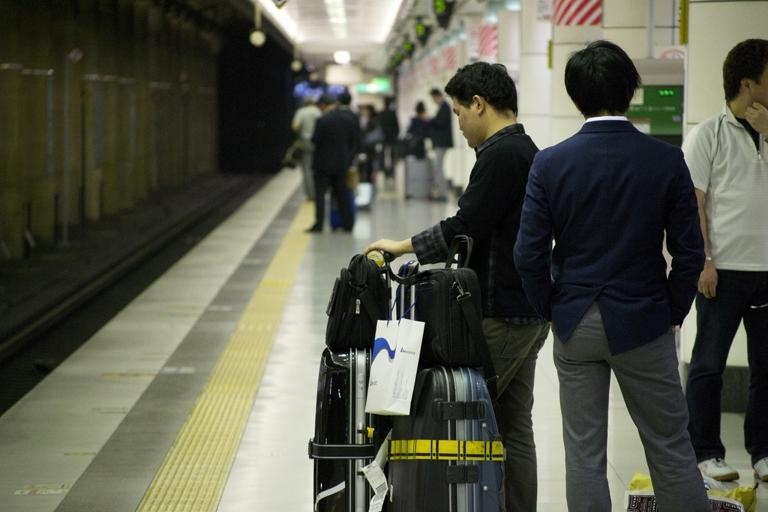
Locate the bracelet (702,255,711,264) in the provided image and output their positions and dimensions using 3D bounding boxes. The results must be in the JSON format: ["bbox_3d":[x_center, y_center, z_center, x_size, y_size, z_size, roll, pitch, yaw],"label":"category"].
[{"bbox_3d":[1.307,0.012,2.949,0.035,0.026,0.045,-4,5,-41],"label":"bracelet"}]

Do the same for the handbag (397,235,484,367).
[{"bbox_3d":[0.195,0.157,2.720,0.337,0.490,0.472,0,-3,-27],"label":"handbag"}]

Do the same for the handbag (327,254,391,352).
[{"bbox_3d":[-0.070,0.161,2.715,0.221,0.328,0.251,2,1,7],"label":"handbag"}]
